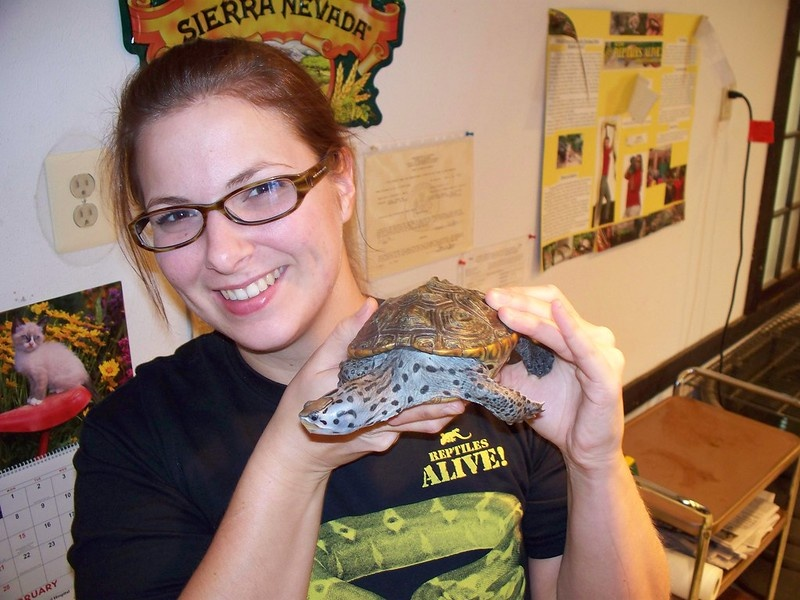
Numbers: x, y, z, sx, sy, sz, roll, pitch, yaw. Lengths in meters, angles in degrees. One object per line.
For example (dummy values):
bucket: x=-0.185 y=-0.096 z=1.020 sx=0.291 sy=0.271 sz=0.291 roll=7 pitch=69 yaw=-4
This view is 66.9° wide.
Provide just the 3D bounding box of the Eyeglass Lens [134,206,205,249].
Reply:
Eyeglass Lens: x=-0.520 y=-0.135 z=1.373 sx=0.173 sy=0.093 sz=0.093 roll=-14 pitch=23 yaw=-38

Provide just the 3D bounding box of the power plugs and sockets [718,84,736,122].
power plugs and sockets: x=1.933 y=-1.041 z=3.605 sx=0.102 sy=0.183 sz=0.043 roll=-7 pitch=16 yaw=-43

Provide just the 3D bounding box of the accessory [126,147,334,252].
accessory: x=-0.383 y=-0.136 z=1.527 sx=0.448 sy=0.089 sz=0.435 roll=-16 pitch=-5 yaw=-4
